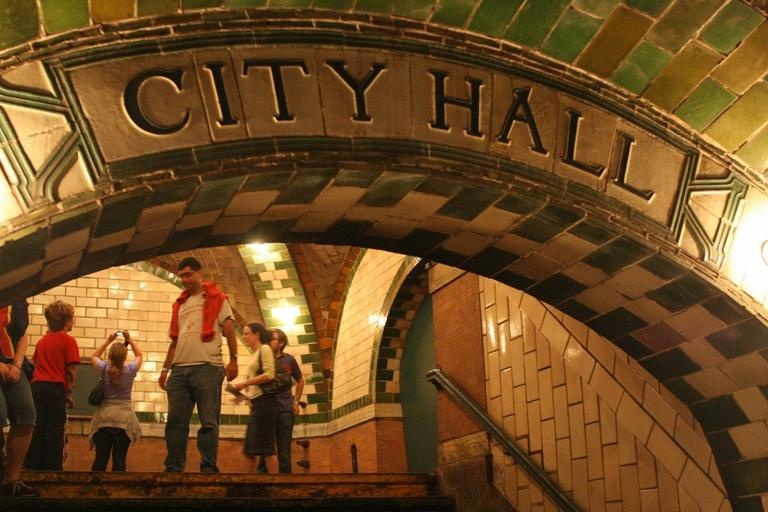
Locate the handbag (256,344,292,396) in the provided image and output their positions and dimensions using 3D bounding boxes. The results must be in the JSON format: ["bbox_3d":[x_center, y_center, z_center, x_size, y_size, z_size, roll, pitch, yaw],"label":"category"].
[{"bbox_3d":[-1.044,1.067,8.472,0.273,0.476,0.355,-25,-30,21],"label":"handbag"}]
